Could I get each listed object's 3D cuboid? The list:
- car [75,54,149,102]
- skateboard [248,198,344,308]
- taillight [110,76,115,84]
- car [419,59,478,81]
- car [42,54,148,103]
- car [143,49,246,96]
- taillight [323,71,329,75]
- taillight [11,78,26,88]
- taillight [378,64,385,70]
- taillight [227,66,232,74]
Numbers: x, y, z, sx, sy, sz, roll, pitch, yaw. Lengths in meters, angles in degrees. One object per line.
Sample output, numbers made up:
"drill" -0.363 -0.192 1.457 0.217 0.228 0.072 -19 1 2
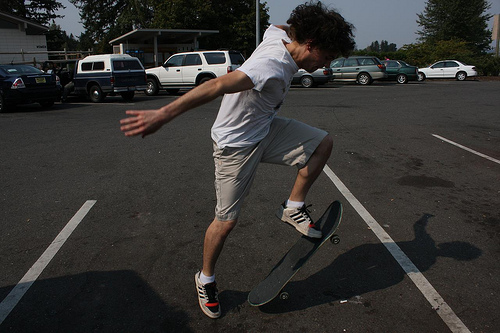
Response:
"car" -6.927 -4.524 16.106 3.363 1.661 2.013 15 22 38
"skateboard" 0.456 0.879 3.110 0.962 0.162 0.228 -47 33 -8
"taillight" -6.762 -4.219 15.528 0.173 0.316 0.072 0 5 -7
"car" 17.856 -8.651 28.796 4.516 1.762 1.606 4 18 6
"car" -8.063 -4.859 16.940 5.043 1.981 2.680 10 18 27
"car" -3.345 -5.257 18.203 5.484 2.631 0.992 9 18 20
"taillight" 5.284 -6.456 22.047 0.300 0.232 0.086 -8 19 -28
"taillight" -9.442 -3.376 12.876 0.386 0.392 0.139 1 26 -35
"taillight" 9.904 -7.445 23.856 0.593 0.413 0.271 -8 20 -28
"taillight" -1.076 -5.141 16.789 0.262 0.276 0.560 0 19 -5
